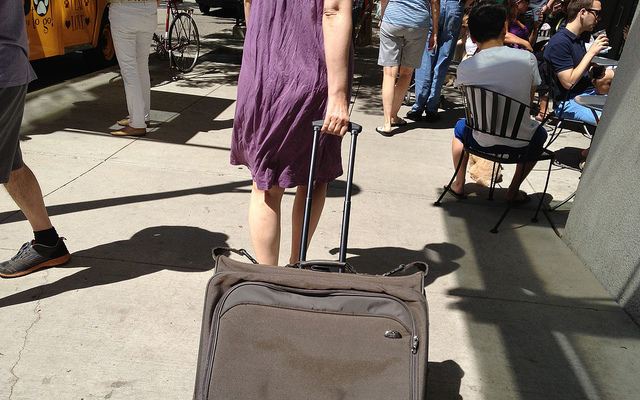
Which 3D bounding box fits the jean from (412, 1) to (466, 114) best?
[{"bbox_3d":[1.941,-2.343,8.502,0.743,1.795,0.329,-12,31,-29],"label":"jean"}]
